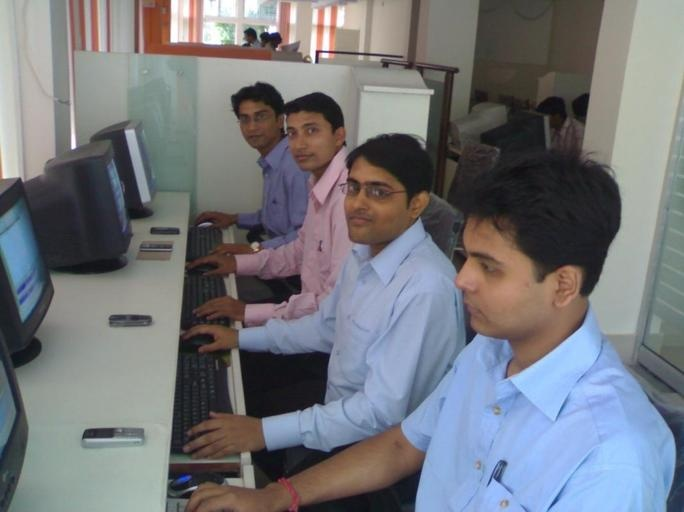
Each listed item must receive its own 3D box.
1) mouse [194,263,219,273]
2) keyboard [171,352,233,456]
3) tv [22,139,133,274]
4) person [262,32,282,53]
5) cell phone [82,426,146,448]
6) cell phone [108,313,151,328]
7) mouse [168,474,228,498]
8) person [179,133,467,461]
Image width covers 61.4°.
[{"bbox_3d":[-0.648,0.052,2.726,0.122,0.045,0.076,-4,16,-9],"label":"mouse"},{"bbox_3d":[-0.433,0.468,1.766,0.156,0.054,0.380,8,32,-16],"label":"keyboard"},{"bbox_3d":[-1.016,-0.176,2.412,0.433,0.499,0.508,1,22,-17],"label":"tv"},{"bbox_3d":[-1.317,-4.063,10.776,0.325,0.282,0.718,-3,18,-8],"label":"person"},{"bbox_3d":[-0.533,0.423,1.349,0.106,0.026,0.058,2,8,-13],"label":"cell phone"},{"bbox_3d":[-0.685,0.204,1.874,0.095,0.024,0.059,2,20,-11],"label":"cell phone"},{"bbox_3d":[-0.378,0.564,1.449,0.097,0.031,0.061,-9,13,-23],"label":"mouse"},{"bbox_3d":[-0.031,0.053,2.046,1.000,1.087,0.917,3,20,-8],"label":"person"}]
